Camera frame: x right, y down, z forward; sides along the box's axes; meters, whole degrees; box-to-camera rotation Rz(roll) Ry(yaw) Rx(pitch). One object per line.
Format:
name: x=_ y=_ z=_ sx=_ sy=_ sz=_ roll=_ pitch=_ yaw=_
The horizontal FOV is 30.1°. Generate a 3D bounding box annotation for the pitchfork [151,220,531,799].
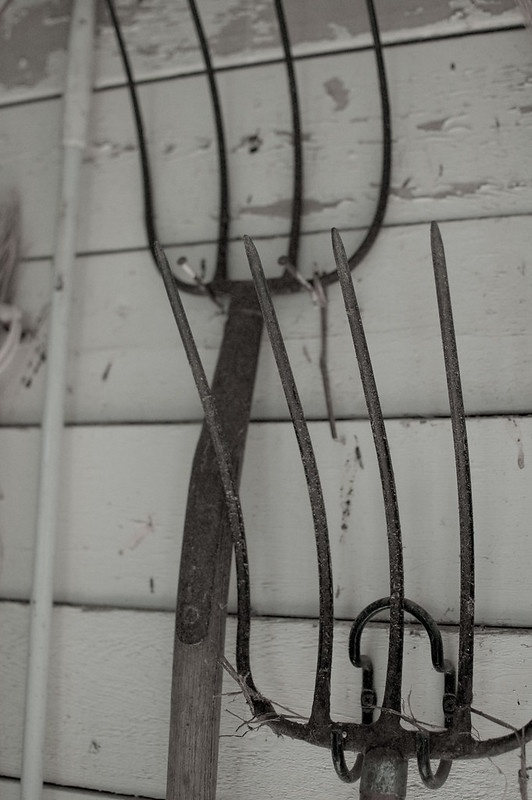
pitchfork: x=0.080 y=0.171 z=0.841 sx=0.247 sy=0.627 sz=0.080 roll=-6 pitch=3 yaw=23
